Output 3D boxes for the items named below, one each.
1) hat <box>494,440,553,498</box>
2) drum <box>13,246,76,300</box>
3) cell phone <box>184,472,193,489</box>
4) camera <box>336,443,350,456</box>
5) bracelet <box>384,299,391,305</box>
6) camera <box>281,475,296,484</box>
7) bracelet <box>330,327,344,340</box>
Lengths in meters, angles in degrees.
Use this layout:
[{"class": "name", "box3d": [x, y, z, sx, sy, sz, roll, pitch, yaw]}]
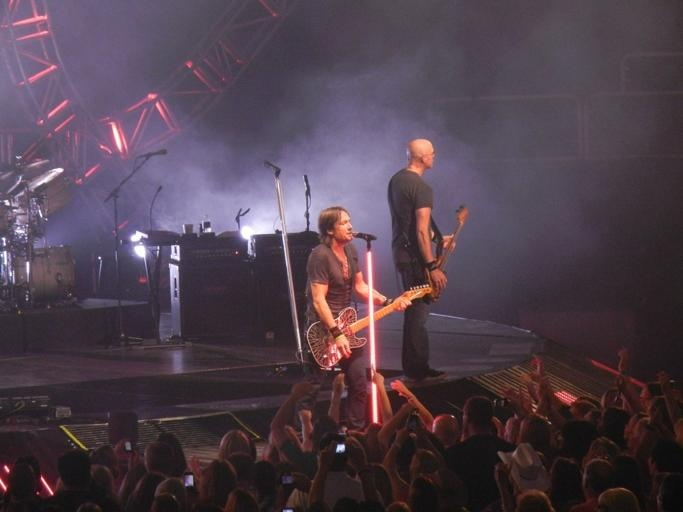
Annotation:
[{"class": "hat", "box3d": [1.073, 1.242, 3.862, 0.216, 0.384, 0.151, -16, -28, -11]}, {"class": "drum", "box3d": [-4.418, 0.249, 9.668, 0.830, 0.897, 0.637, 0, -1, -38]}, {"class": "cell phone", "box3d": [-0.953, 1.397, 4.060, 0.058, 0.067, 0.080, -2, -3, -15]}, {"class": "camera", "box3d": [0.009, 1.081, 3.716, 0.089, 0.097, 0.052, 0, 1, 4]}, {"class": "bracelet", "box3d": [0.394, 0.388, 5.489, 0.041, 0.035, 0.044, 1, -12, 0]}, {"class": "camera", "box3d": [-0.314, 1.312, 3.839, 0.065, 0.051, 0.038, 1, 5, 9]}, {"class": "bracelet", "box3d": [-0.045, 0.601, 5.062, 0.081, 0.088, 0.086, 0, -1, 2]}]
